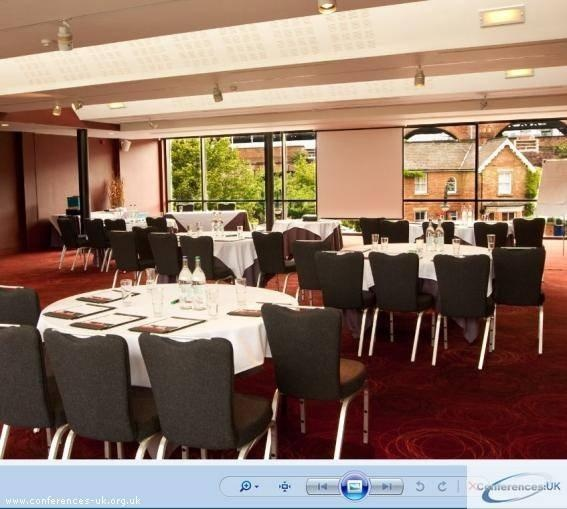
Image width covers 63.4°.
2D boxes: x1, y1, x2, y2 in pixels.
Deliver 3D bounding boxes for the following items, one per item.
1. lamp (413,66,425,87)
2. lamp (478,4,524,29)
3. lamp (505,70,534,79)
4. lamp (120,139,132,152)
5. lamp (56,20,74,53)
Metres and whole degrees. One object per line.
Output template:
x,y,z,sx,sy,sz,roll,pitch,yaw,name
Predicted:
1.932,-2.509,6.501,0.112,0.321,0.430,2,9,17,lamp
2.479,-2.689,5.203,0.457,0.158,0.178,3,9,23,lamp
4.146,-3.166,8.036,0.457,0.109,0.528,3,9,25,lamp
-4.726,-3.275,13.918,0.318,0.339,0.383,7,11,41,lamp
-2.356,-2.343,4.945,0.140,0.262,0.356,-5,9,-24,lamp
